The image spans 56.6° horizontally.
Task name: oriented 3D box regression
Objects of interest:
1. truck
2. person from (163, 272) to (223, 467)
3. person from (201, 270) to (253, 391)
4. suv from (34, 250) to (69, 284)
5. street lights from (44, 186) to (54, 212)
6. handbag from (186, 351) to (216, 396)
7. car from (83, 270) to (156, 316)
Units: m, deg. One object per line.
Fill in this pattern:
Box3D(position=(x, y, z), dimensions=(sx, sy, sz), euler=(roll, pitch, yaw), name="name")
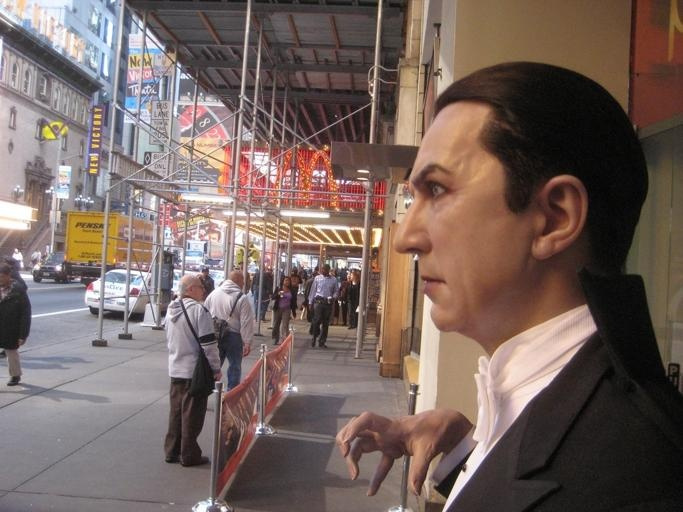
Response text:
Box3D(position=(-7.366, -0.247, 21.360), dimensions=(3.617, 3.279, 3.800), euler=(2, 7, 9), name="truck")
Box3D(position=(-1.558, 1.185, 6.490), dimensions=(0.453, 1.748, 0.587), euler=(10, 8, -3), name="person")
Box3D(position=(-1.616, 1.003, 9.072), dimensions=(0.776, 1.686, 0.659), euler=(0, 0, 3), name="person")
Box3D(position=(-15.795, 0.494, 34.318), dimensions=(1.808, 1.670, 3.216), euler=(0, -4, -13), name="suv")
Box3D(position=(-24.069, -4.703, 52.156), dimensions=(0.546, 1.997, 0.981), euler=(-5, -2, -2), name="street lights")
Box3D(position=(-1.418, 1.195, 6.432), dimensions=(0.249, 0.301, 0.299), euler=(-5, -2, -12), name="handbag")
Box3D(position=(-6.881, 1.147, 19.471), dimensions=(1.700, 1.584, 5.109), euler=(-4, -2, -20), name="car")
